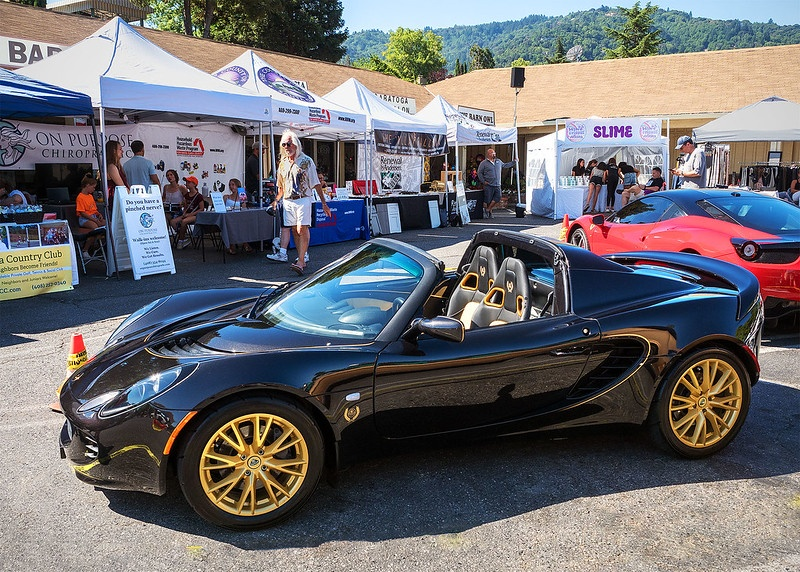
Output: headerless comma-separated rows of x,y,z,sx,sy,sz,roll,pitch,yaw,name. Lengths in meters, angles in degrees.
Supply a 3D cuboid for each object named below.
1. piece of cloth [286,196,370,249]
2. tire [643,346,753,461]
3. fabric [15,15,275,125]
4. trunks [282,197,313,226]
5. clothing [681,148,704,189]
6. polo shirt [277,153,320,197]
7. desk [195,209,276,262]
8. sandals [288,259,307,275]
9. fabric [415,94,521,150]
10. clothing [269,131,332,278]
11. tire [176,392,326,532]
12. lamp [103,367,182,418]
-1.509,-1.579,13.968,1.771,0.916,1.239,-11,16,-35,piece of cloth
2.150,0.825,4.244,0.797,0.851,0.273,-2,9,-15,tire
-5.026,-4.047,10.945,2.935,1.359,3.107,21,24,33,fabric
-1.927,-1.416,10.681,0.528,0.533,0.307,1,3,19,trunks
6.296,-2.584,12.458,0.493,0.834,0.548,8,16,27,clothing
-1.951,-2.060,10.774,0.796,0.841,0.525,-1,2,15,polo shirt
-3.401,-1.197,12.095,0.747,0.910,2.033,2,11,15,desk
-1.867,-0.331,10.492,0.166,0.180,0.423,2,-26,10,sandals
2.041,-5.766,20.005,3.163,1.174,3.364,14,19,32,fabric
-1.942,-1.591,10.770,0.926,2.558,0.885,7,16,30,clothing
-0.897,1.012,3.382,0.612,0.636,0.215,24,3,-16,tire
-1.480,0.624,3.337,0.524,0.057,0.136,-35,33,-20,lamp
